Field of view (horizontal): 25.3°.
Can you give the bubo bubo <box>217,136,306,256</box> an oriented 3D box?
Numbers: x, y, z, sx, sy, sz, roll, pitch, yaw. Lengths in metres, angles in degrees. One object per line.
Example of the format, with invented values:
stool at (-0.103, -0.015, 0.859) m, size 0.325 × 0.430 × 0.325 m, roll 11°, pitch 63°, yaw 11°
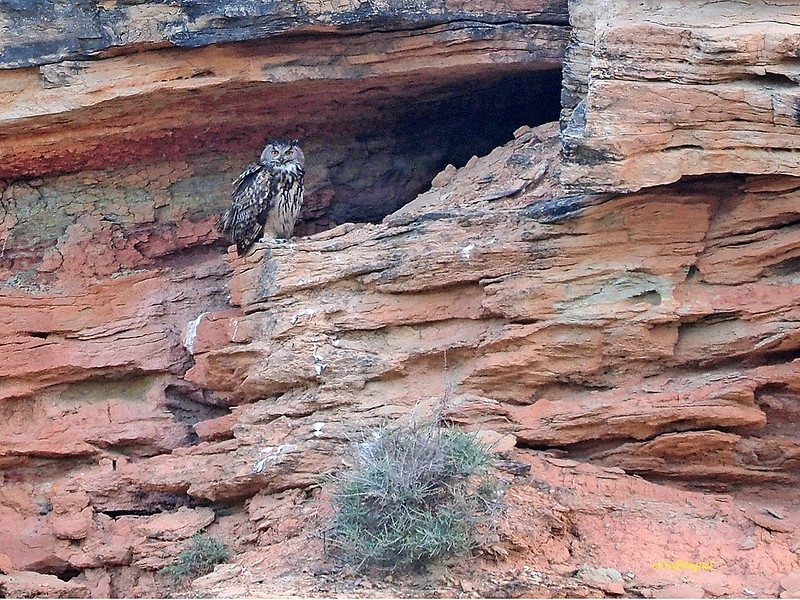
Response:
bubo bubo at (-1.114, -0.869, 15.306) m, size 0.701 × 0.938 × 0.429 m, roll -11°, pitch 26°, yaw -19°
